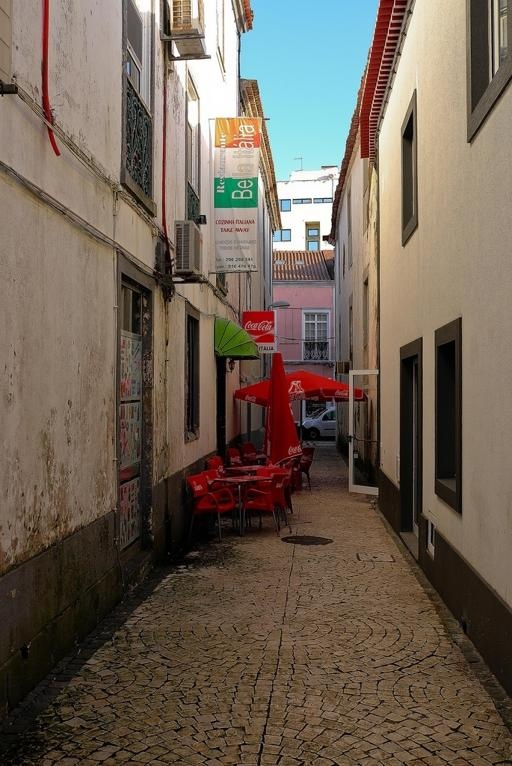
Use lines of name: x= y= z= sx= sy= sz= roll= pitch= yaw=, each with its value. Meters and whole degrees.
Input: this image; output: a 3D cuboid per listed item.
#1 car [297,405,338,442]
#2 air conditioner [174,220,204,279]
car: x=3.289 y=2.258 z=32.800 sx=1.760 sy=1.871 sz=1.570 roll=2 pitch=-4 yaw=3
air conditioner: x=-0.795 y=-1.555 z=7.481 sx=0.150 sy=0.688 sz=0.561 roll=-1 pitch=-4 yaw=11
